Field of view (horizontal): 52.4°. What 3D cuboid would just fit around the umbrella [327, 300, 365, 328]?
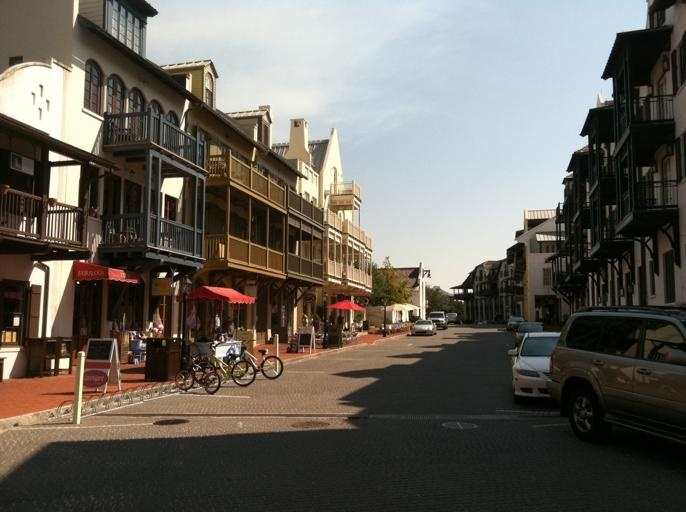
[{"bbox_3d":[0.162,4.395,51.748,2.354,0.939,2.430,-6,-10,42],"label":"umbrella"}]

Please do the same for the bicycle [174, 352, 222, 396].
[{"bbox_3d":[-3.873,3.207,18.722,1.215,0.931,0.727,3,-13,6],"label":"bicycle"}]

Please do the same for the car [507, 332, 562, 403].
[{"bbox_3d":[4.743,2.776,17.440,0.943,1.063,2.282,-2,-11,8],"label":"car"}]

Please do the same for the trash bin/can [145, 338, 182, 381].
[{"bbox_3d":[-5.054,2.885,19.581,0.765,1.218,0.874,2,-2,24],"label":"trash bin/can"}]

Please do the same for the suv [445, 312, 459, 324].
[{"bbox_3d":[17.721,9.595,112.123,2.359,2.501,4.340,-1,-12,7],"label":"suv"}]

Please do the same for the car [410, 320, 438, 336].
[{"bbox_3d":[6.577,5.874,56.308,1.250,1.068,3.290,-2,-11,10],"label":"car"}]

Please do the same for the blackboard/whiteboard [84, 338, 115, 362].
[{"bbox_3d":[-5.762,2.247,16.494,0.412,0.605,0.040,4,-22,0],"label":"blackboard/whiteboard"}]

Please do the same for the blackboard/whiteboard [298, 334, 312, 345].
[{"bbox_3d":[-1.698,3.751,31.100,0.423,0.474,0.049,-6,-24,16],"label":"blackboard/whiteboard"}]

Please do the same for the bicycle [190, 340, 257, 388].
[{"bbox_3d":[-3.384,3.092,19.767,1.723,1.284,0.987,2,-13,-11],"label":"bicycle"}]

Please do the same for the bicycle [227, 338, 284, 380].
[{"bbox_3d":[-2.623,3.201,21.104,1.524,1.159,0.895,3,-7,-4],"label":"bicycle"}]
